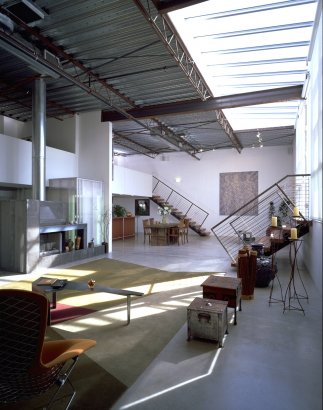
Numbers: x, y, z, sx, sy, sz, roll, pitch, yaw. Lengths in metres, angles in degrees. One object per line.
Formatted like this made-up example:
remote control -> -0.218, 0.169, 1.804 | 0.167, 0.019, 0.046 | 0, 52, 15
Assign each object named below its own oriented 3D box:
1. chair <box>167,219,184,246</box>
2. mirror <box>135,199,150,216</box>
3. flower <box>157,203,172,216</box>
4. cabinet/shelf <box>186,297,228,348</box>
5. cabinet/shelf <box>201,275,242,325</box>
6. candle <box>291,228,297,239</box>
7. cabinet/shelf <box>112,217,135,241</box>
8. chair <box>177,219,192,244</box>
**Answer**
chair -> 0.557, 1.043, 11.673 | 0.804, 1.216, 0.815 | 1, -1, 12
mirror -> -0.997, 0.107, 16.236 | 0.864, 0.976, 0.129 | 1, 0, 25
flower -> 0.132, 0.251, 13.205 | 0.571, 0.633, 0.588 | -2, 12, -18
cabinet/shelf -> 0.474, 1.181, 3.194 | 0.391, 0.383, 0.395 | 2, 7, 19
cabinet/shelf -> 0.747, 1.135, 3.781 | 0.432, 0.427, 0.361 | 0, 8, 23
candle -> 1.718, 0.375, 4.027 | 0.068, 0.143, 0.123 | 0, 0, 16
cabinet/shelf -> -1.628, 0.972, 12.888 | 0.808, 0.746, 1.514 | 0, 1, 13
chair -> 0.827, 1.008, 11.859 | 0.624, 0.769, 0.616 | -2, 3, -14
